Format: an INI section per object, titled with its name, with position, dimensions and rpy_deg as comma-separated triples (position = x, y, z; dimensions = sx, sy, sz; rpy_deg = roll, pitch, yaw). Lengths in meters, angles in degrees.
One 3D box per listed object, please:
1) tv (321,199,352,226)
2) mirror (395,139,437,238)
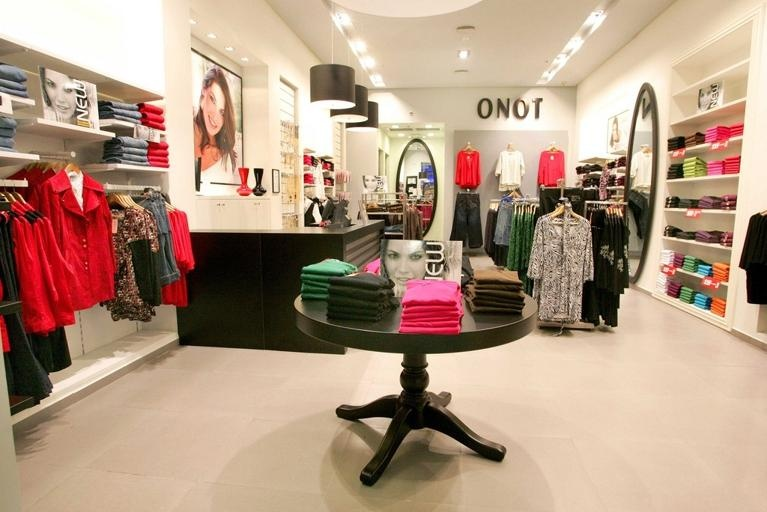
[tv]
position = -0.618, -0.524, 6.119
dimensions = 0.383, 0.376, 0.353
rpy_deg = 6, 7, 14
[mirror]
position = 0.841, -1.738, 11.985
dimensions = 1.066, 2.400, 2.144
rpy_deg = -1, 8, 2
